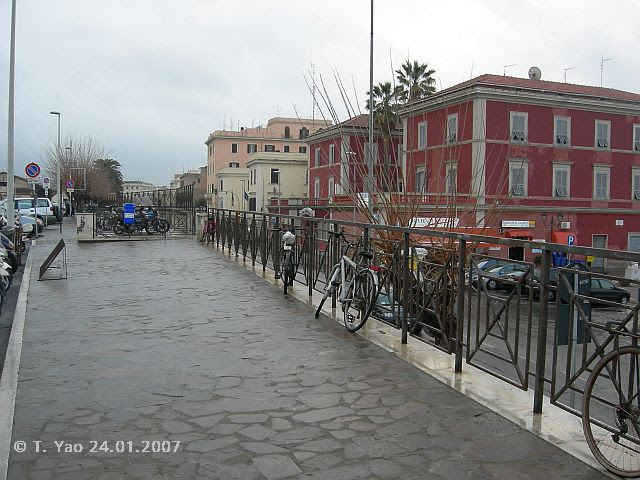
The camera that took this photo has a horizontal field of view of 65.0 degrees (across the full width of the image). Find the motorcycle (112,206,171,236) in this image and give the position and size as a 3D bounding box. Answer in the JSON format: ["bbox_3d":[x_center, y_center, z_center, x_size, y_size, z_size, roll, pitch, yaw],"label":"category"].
[{"bbox_3d":[-8.359,-0.947,23.688,2.541,1.538,1.284,-2,3,-19],"label":"motorcycle"}]
